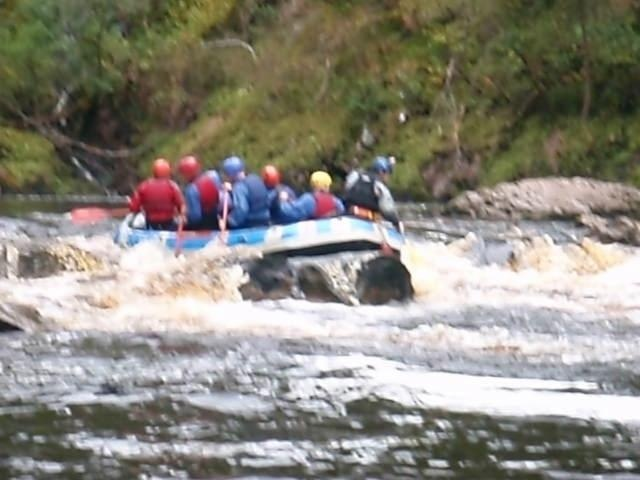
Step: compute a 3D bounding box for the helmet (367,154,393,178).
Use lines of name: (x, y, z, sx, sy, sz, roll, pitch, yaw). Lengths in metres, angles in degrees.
helmet: (1.343, -1.576, 31.028, 0.468, 0.489, 0.377, 22, 26, -8)

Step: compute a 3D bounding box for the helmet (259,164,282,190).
helmet: (-1.028, -1.347, 30.795, 0.365, 0.379, 0.483, -31, 84, -22)

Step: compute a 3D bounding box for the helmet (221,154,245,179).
helmet: (-1.837, -1.515, 30.596, 0.436, 0.458, 0.467, 2, -2, -29)

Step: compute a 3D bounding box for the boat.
boat: (-1.454, -0.131, 30.576, 4.148, 0.725, 1.949, 0, -1, -1)

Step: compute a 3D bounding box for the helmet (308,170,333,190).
helmet: (0.046, -1.279, 30.809, 0.449, 0.434, 0.335, -8, 34, -19)

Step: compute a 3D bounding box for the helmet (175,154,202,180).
helmet: (-2.719, -1.558, 30.541, 0.462, 0.543, 0.567, 4, 41, -3)

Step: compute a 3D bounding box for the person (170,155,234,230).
person: (-2.500, -0.987, 31.330, 1.054, 2.259, 0.826, -27, 69, -17)
